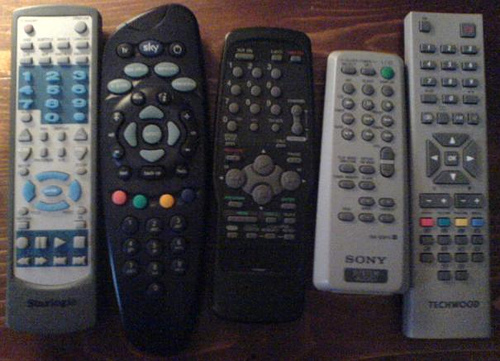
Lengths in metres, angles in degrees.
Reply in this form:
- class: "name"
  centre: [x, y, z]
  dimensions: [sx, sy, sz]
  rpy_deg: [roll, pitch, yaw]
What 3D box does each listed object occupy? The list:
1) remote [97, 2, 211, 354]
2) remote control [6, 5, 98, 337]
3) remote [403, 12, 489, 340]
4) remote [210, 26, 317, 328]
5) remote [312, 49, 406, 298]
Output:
- class: "remote"
  centre: [-0.136, -0.018, 0.753]
  dimensions: [0.169, 0.458, 0.080]
  rpy_deg: [1, 3, -4]
- class: "remote control"
  centre: [-0.282, -0.011, 0.802]
  dimensions: [0.141, 0.440, 0.066]
  rpy_deg: [0, 0, -1]
- class: "remote"
  centre: [0.289, -0.006, 0.818]
  dimensions: [0.120, 0.485, 0.083]
  rpy_deg: [1, 4, 14]
- class: "remote"
  centre: [0.022, -0.008, 0.825]
  dimensions: [0.154, 0.447, 0.087]
  rpy_deg: [0, 4, 5]
- class: "remote"
  centre: [0.161, -0.013, 0.810]
  dimensions: [0.130, 0.351, 0.073]
  rpy_deg: [0, 4, 10]
